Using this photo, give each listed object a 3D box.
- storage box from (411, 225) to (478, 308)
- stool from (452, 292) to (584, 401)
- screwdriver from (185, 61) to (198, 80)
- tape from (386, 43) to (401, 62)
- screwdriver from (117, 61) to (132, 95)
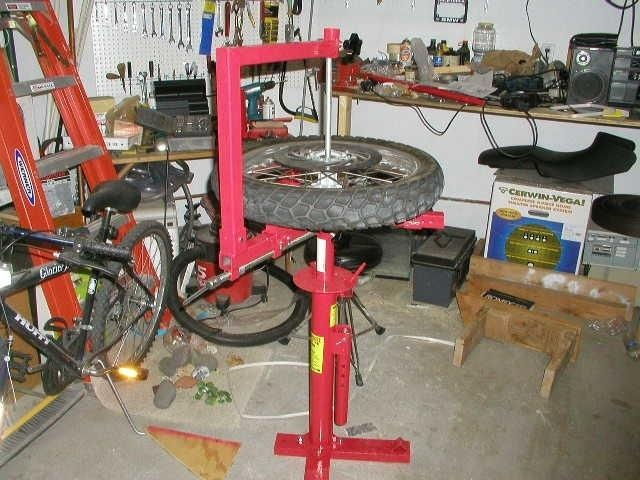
[{"bbox_3d":[0.871,0.183,3.571,0.289,0.363,0.571,15,29,31],"label":"storage box"},{"bbox_3d":[1.133,0.592,2.959,0.712,0.247,0.495,12,28,25],"label":"stool"},{"bbox_3d":[-0.976,-1.271,3.788,0.092,0.048,0.121,9,-16,3],"label":"screwdriver"},{"bbox_3d":[0.547,-1.399,3.791,0.088,0.119,0.123,-6,25,-13],"label":"tape"},{"bbox_3d":[-1.407,-1.159,3.631,0.066,0.239,0.063,-5,18,-8],"label":"screwdriver"}]
